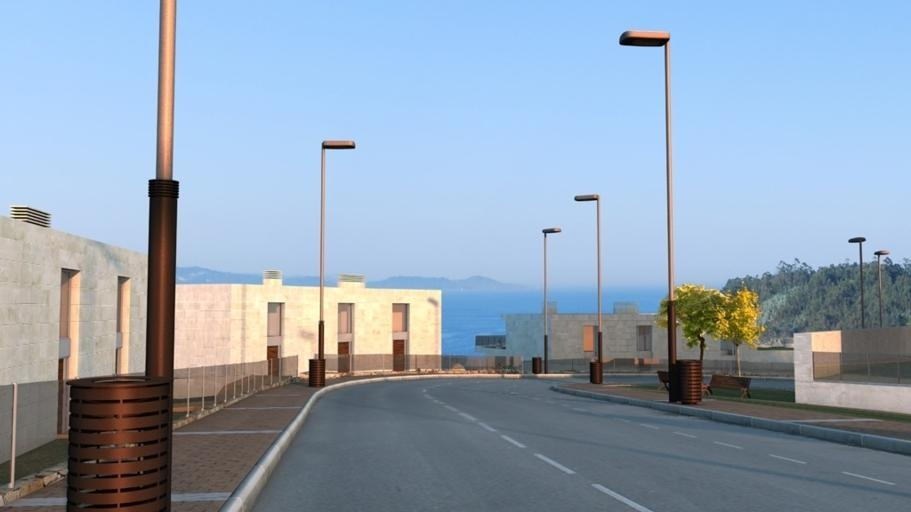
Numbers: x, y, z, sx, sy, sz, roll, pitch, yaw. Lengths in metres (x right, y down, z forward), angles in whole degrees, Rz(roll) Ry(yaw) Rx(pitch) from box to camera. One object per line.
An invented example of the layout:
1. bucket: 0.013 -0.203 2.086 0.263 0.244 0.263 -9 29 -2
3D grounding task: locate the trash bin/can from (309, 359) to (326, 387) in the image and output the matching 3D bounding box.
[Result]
1. trash bin/can: -7.526 6.368 57.587 0.747 1.456 0.889 2 -7 -17

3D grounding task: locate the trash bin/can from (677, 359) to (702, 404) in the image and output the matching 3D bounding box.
1. trash bin/can: 10.423 5.625 47.102 1.123 1.928 0.924 -1 -6 4

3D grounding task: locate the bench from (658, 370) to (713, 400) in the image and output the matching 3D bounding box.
1. bench: 10.927 6.198 50.579 1.122 1.164 2.891 0 -2 -7

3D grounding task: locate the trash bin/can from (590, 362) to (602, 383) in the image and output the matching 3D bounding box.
1. trash bin/can: 8.544 7.038 64.105 0.576 1.186 0.666 0 -6 -2
